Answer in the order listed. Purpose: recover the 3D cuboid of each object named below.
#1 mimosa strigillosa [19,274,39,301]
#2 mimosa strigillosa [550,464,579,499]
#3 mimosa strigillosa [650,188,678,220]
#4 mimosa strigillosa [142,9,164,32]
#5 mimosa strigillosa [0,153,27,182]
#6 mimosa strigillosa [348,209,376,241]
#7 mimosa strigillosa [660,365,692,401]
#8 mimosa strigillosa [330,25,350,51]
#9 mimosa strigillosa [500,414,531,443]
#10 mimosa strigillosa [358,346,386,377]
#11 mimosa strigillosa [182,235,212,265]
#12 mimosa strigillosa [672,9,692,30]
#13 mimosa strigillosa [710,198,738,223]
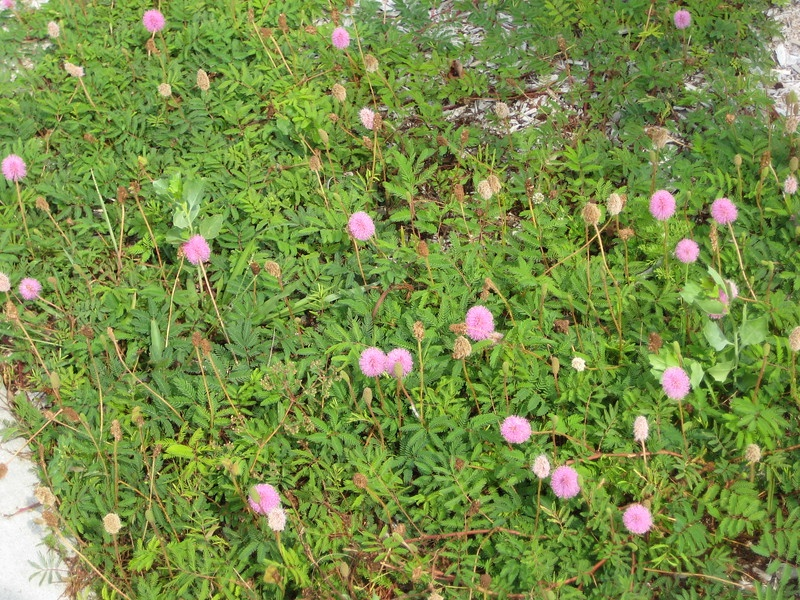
[{"bbox_3d":[-2.301,-0.070,4.213,0.121,0.136,0.144,8,77,-3],"label":"mimosa strigillosa"},{"bbox_3d":[0.810,0.885,3.297,0.131,0.105,0.137,-28,62,-22],"label":"mimosa strigillosa"},{"bbox_3d":[1.506,-0.531,3.898,0.150,0.167,0.174,-3,77,10],"label":"mimosa strigillosa"},{"bbox_3d":[-1.826,-2.060,4.996,0.135,0.137,0.140,-27,61,-22],"label":"mimosa strigillosa"},{"bbox_3d":[-2.561,-0.852,4.467,0.136,0.167,0.144,-25,60,-21],"label":"mimosa strigillosa"},{"bbox_3d":[-0.223,-0.438,3.989,0.135,0.120,0.158,-23,60,-20],"label":"mimosa strigillosa"},{"bbox_3d":[1.402,0.414,3.426,0.137,0.104,0.131,28,57,14],"label":"mimosa strigillosa"},{"bbox_3d":[-0.431,-1.889,4.857,0.155,0.187,0.183,-5,58,-7],"label":"mimosa strigillosa"},{"bbox_3d":[0.592,0.652,3.416,0.123,0.096,0.142,10,51,6],"label":"mimosa strigillosa"},{"bbox_3d":[-0.142,0.327,3.624,0.140,0.101,0.145,40,84,2],"label":"mimosa strigillosa"},{"bbox_3d":[-1.214,-0.281,4.022,0.160,0.114,0.189,-16,74,-18],"label":"mimosa strigillosa"},{"bbox_3d":[2.035,-2.009,4.891,0.118,0.136,0.136,-19,94,21],"label":"mimosa strigillosa"},{"bbox_3d":[1.911,-0.524,3.953,0.114,0.127,0.129,-22,76,-2],"label":"mimosa strigillosa"}]
